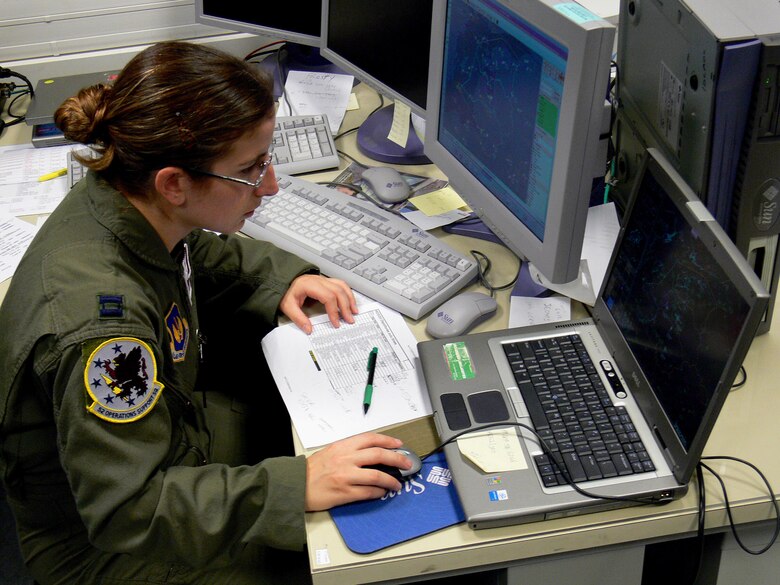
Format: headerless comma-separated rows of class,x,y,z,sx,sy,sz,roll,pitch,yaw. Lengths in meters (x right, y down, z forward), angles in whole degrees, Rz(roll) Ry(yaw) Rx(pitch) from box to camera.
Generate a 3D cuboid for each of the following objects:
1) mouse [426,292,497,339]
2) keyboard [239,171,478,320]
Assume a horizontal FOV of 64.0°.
mouse,0.133,0.038,1.233,0.128,0.035,0.077,-36,48,-23
keyboard,-0.074,-0.118,1.402,0.716,0.101,0.275,28,59,34
